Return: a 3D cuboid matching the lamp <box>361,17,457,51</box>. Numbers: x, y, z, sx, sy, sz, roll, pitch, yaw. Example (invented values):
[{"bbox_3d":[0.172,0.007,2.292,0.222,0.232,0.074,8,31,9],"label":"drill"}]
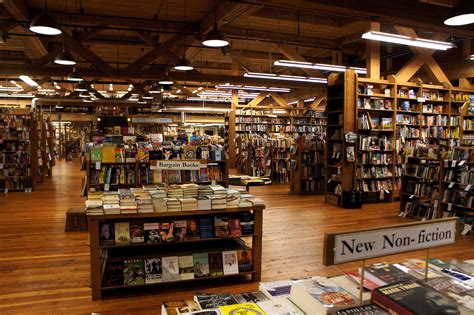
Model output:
[{"bbox_3d":[4.386,-3.052,9.255,2.640,0.300,0.474,-3,11,-19],"label":"lamp"}]
